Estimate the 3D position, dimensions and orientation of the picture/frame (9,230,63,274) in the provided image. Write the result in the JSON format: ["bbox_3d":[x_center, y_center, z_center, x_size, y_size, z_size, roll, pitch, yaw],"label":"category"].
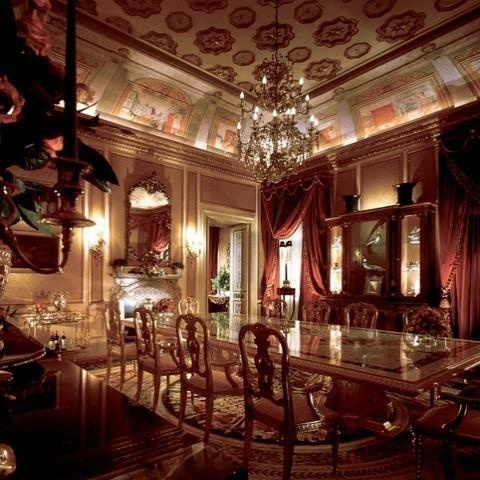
[{"bbox_3d":[-2.622,0.133,5.018,0.060,0.531,0.780,3,1,26],"label":"picture/frame"}]

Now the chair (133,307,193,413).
[{"bbox_3d":[-0.684,0.994,3.468,0.402,0.774,0.465,3,-4,-33],"label":"chair"}]

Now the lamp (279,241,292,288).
[{"bbox_3d":[0.816,0.408,7.351,0.296,0.631,0.759,8,-4,6],"label":"lamp"}]

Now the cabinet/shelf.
[{"bbox_3d":[1.791,0.358,5.076,0.513,1.839,1.615,8,-11,-33],"label":"cabinet/shelf"}]

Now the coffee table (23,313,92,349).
[{"bbox_3d":[-2.202,1.109,4.933,0.894,0.456,0.595,11,-5,-36],"label":"coffee table"}]

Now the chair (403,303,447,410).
[{"bbox_3d":[1.459,0.825,3.147,0.253,0.511,0.230,-6,-7,30],"label":"chair"}]
